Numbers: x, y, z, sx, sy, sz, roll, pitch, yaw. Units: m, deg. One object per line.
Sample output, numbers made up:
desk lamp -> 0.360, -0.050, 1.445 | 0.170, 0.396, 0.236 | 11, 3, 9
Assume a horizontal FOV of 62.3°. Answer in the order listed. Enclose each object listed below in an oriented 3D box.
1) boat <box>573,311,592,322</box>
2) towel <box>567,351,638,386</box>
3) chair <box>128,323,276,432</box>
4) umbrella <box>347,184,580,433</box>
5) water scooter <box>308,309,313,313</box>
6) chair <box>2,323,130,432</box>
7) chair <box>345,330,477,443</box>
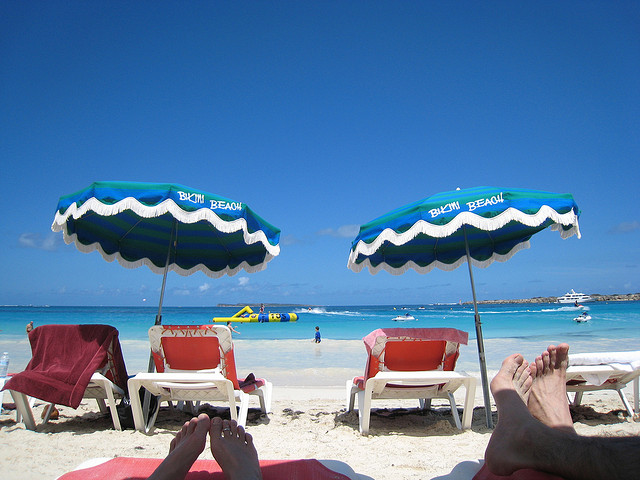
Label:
boat -> 19.035, 5.613, 38.223 | 1.262, 0.697, 1.857 | -9, -6, 38
towel -> 4.345, 1.994, 8.159 | 1.242, 0.489, 0.374 | 3, -12, -20
chair -> -1.864, 2.088, 8.109 | 2.012, 1.560, 1.268 | 3, -12, -20
umbrella -> 2.759, 1.012, 9.591 | 3.751, 4.309, 3.810 | -6, 5, 28
water scooter -> -1.813, 13.317, 99.577 | 1.505, 0.388, 1.450 | 1, 5, 7
chair -> -3.894, 2.221, 8.528 | 1.454, 1.748, 1.758 | -4, -21, -6
chair -> 1.460, 2.190, 8.262 | 1.794, 1.475, 1.009 | -1, -11, 3
